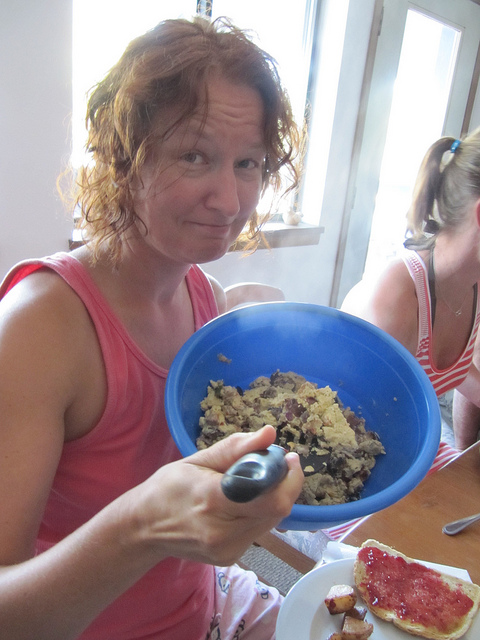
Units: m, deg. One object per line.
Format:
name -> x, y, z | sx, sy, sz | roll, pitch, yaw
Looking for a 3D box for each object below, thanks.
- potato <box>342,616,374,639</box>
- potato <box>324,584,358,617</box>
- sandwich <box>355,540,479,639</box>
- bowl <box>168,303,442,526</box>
potato -> 0.151, 0.401, 0.735 | 0.035, 0.012, 0.036 | 14, 22, 18
potato -> 0.133, 0.375, 0.755 | 0.037, 0.014, 0.035 | 8, 38, 25
sandwich -> 0.236, 0.379, 0.787 | 0.166, 0.035, 0.102 | 18, 24, 26
bowl -> 0.055, 0.166, 0.950 | 0.379, 0.150, 0.378 | 24, 33, -17
